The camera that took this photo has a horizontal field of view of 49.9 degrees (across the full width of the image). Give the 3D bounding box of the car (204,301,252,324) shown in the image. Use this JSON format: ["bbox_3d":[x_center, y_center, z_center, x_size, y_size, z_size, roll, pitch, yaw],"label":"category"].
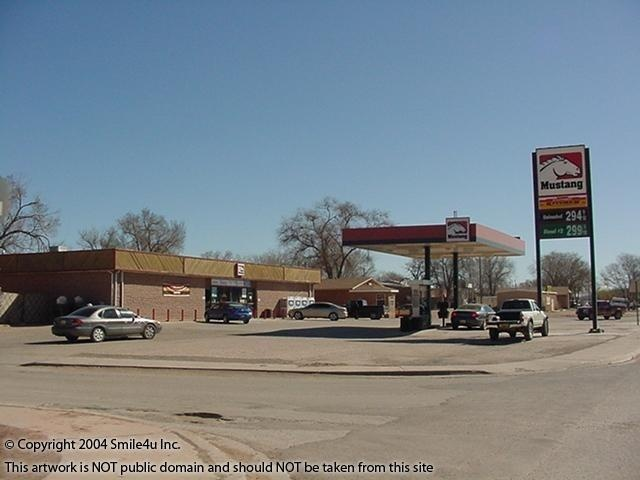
[{"bbox_3d":[-6.410,5.175,48.609,3.146,1.643,1.328,-4,-10,22],"label":"car"}]

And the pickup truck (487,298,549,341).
[{"bbox_3d":[9.359,3.680,32.212,1.706,1.381,3.671,0,1,33],"label":"pickup truck"}]
